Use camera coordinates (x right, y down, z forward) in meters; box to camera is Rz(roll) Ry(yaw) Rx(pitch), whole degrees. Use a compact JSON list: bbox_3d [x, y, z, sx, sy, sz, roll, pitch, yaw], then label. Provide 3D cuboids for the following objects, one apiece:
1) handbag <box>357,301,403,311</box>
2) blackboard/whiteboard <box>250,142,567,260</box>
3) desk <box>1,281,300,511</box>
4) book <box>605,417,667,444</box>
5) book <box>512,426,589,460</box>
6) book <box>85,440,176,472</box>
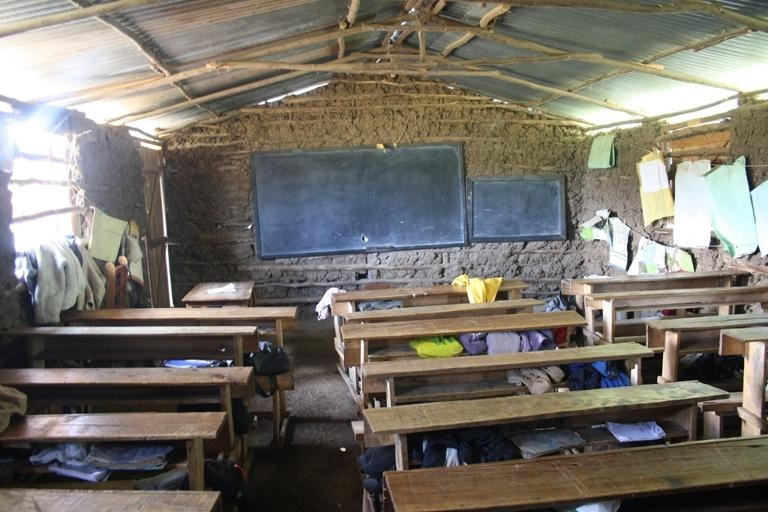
[{"bbox_3d":[-0.044,0.594,6.926,0.264,0.051,0.234,1,5,16],"label":"handbag"},{"bbox_3d":[0.292,-0.918,9.430,4.667,1.737,0.098,-2,3,-4],"label":"blackboard/whiteboard"},{"bbox_3d":[-2.076,1.071,4.950,2.225,0.798,1.377,0,3,-2],"label":"desk"},{"bbox_3d":[1.975,1.384,4.595,0.303,0.068,0.249,-2,5,0],"label":"book"},{"bbox_3d":[1.244,1.417,4.452,0.347,0.060,0.255,-4,7,-15],"label":"book"},{"bbox_3d":[-1.963,1.545,4.511,0.401,0.086,0.349,1,-5,-18],"label":"book"}]
